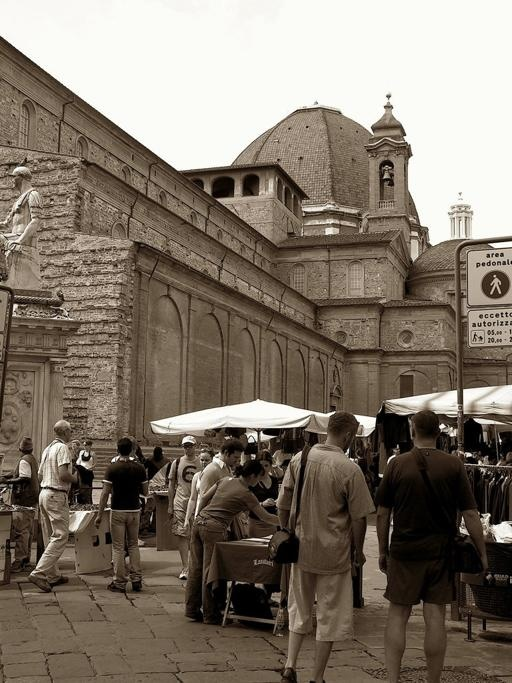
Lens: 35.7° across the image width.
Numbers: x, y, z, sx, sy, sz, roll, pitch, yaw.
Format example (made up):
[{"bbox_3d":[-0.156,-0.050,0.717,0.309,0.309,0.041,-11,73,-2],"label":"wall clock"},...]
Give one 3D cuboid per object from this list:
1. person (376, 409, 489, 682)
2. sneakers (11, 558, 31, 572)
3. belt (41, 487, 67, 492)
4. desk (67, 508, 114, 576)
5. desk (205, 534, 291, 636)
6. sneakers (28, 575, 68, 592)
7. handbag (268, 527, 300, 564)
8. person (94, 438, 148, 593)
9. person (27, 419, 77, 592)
[{"bbox_3d":[1.064,1.253,4.945,0.637,1.673,0.491,0,-10,5],"label":"person"},{"bbox_3d":[-3.001,2.878,10.234,0.107,0.139,0.326,-2,-17,6],"label":"sneakers"},{"bbox_3d":[-2.231,1.645,8.832,0.273,0.072,0.158,2,-10,-10],"label":"belt"},{"bbox_3d":[-2.140,2.541,10.276,0.599,0.592,0.404,-14,-4,32],"label":"desk"},{"bbox_3d":[-0.033,2.272,7.439,0.847,0.729,0.884,0,-14,32],"label":"desk"},{"bbox_3d":[-2.246,2.635,8.687,0.226,0.182,0.541,-14,-17,22],"label":"sneakers"},{"bbox_3d":[0.184,1.339,5.268,0.181,0.239,0.244,0,0,-23],"label":"handbag"},{"bbox_3d":[-1.502,1.943,8.981,0.536,1.670,1.090,2,-10,-10],"label":"person"},{"bbox_3d":[-2.258,1.814,8.975,0.425,1.860,0.988,3,-10,-13],"label":"person"}]
